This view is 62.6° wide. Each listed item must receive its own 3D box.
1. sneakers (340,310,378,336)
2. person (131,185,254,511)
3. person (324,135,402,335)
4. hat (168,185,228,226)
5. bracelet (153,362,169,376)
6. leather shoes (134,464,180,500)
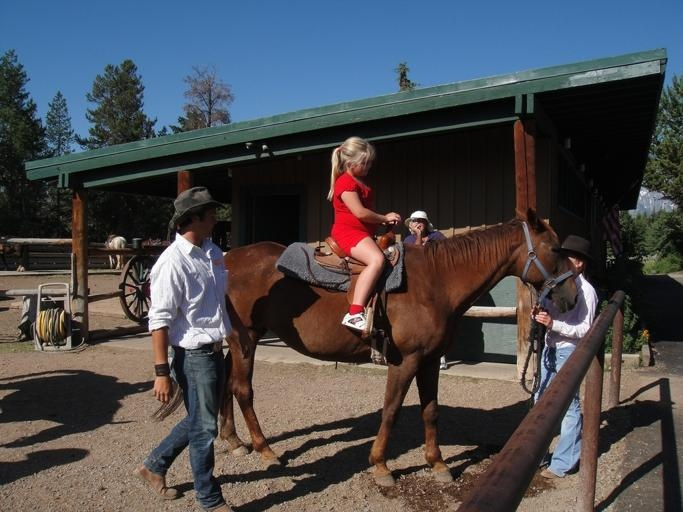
[{"bbox_3d":[0.165,0.565,4.851,0.350,0.186,0.137,4,2,30],"label":"sneakers"},{"bbox_3d":[-1.223,0.780,4.548,0.642,2.649,0.560,-2,6,-22],"label":"person"},{"bbox_3d":[0.195,-0.208,5.135,0.529,1.738,0.759,-2,6,-23],"label":"person"},{"bbox_3d":[-1.167,-0.446,4.577,0.411,0.181,0.387,-24,8,5],"label":"hat"},{"bbox_3d":[-1.375,0.854,4.330,0.104,0.107,0.134,-2,6,-19],"label":"bracelet"},{"bbox_3d":[-1.607,1.954,4.869,0.335,0.161,0.126,40,12,-19],"label":"leather shoes"}]
